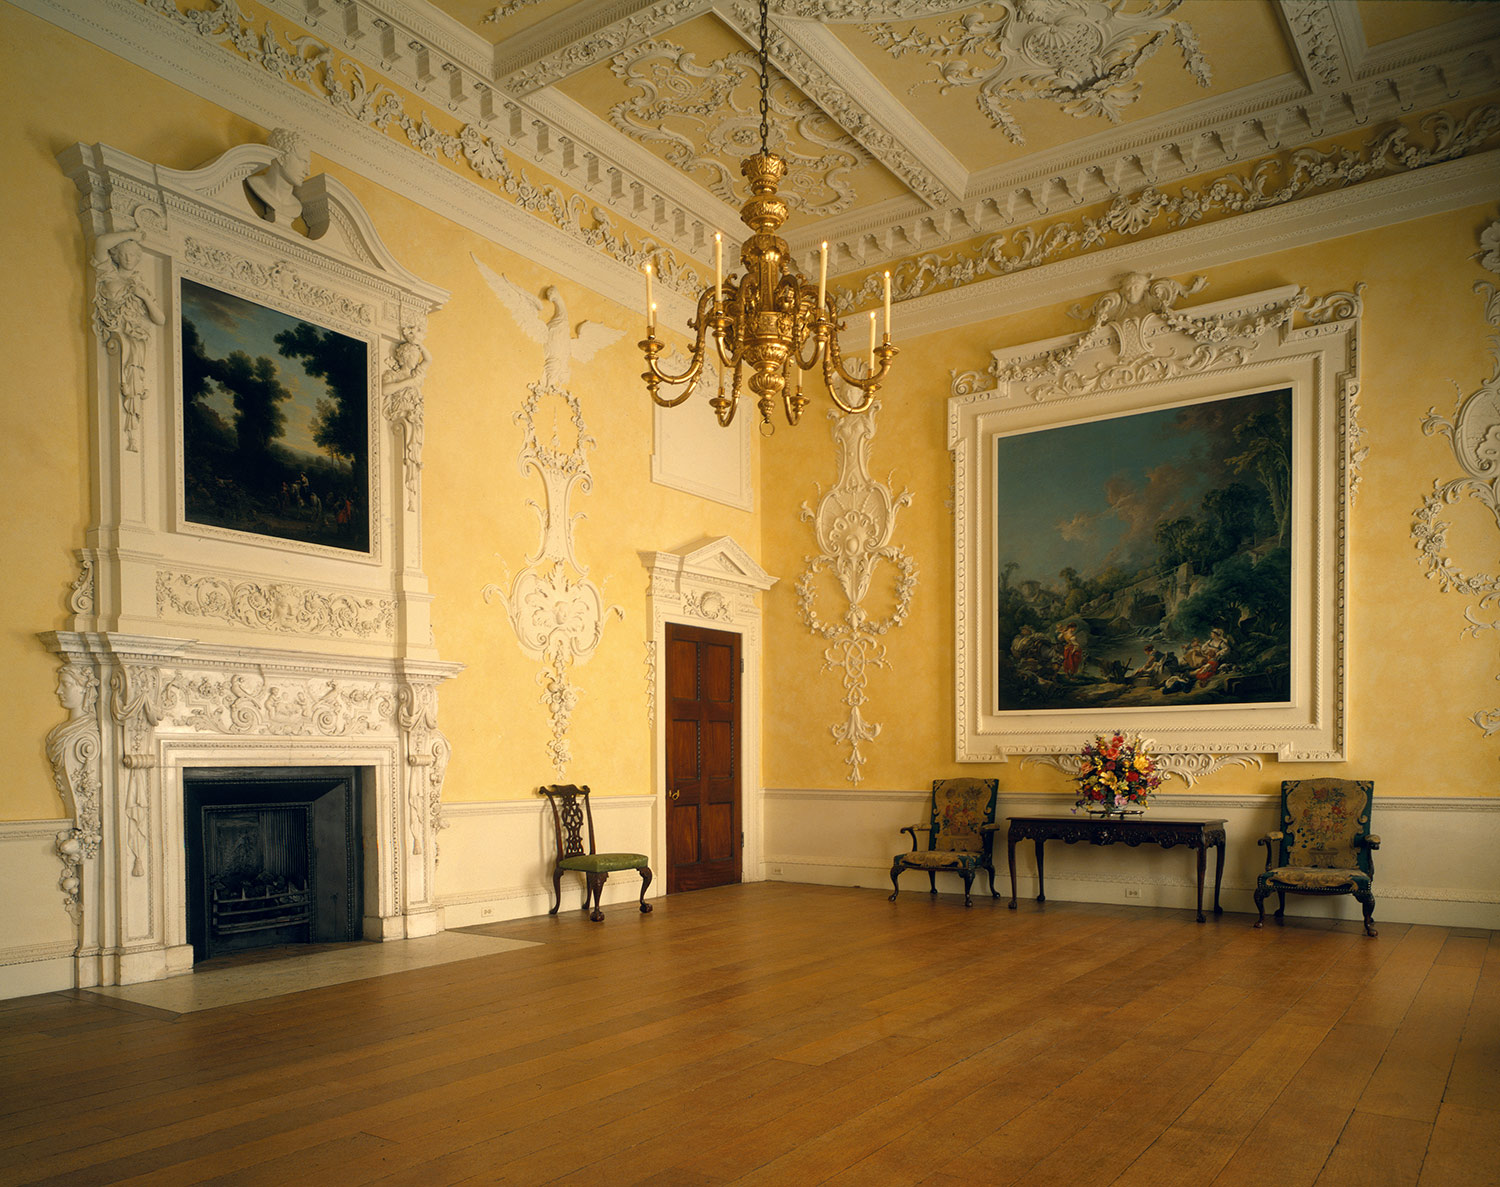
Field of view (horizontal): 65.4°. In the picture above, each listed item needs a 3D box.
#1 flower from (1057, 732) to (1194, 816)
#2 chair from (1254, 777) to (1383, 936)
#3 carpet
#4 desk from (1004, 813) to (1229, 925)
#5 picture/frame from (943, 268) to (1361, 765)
[{"bbox_3d":[3.305,1.533,10.087,0.760,0.532,0.138,-3,-7,34],"label":"flower"},{"bbox_3d":[4.507,2.061,9.145,0.885,1.205,0.764,-5,-26,31],"label":"chair"},{"bbox_3d":[-2.782,2.399,7.556,1.108,0.057,2.522,-4,-6,42],"label":"carpet"},{"bbox_3d":[3.091,2.286,10.004,1.821,0.832,0.831,-3,-5,33],"label":"desk"},{"bbox_3d":[3.671,-0.623,10.266,4.419,5.397,0.275,-4,-9,37],"label":"picture/frame"}]
